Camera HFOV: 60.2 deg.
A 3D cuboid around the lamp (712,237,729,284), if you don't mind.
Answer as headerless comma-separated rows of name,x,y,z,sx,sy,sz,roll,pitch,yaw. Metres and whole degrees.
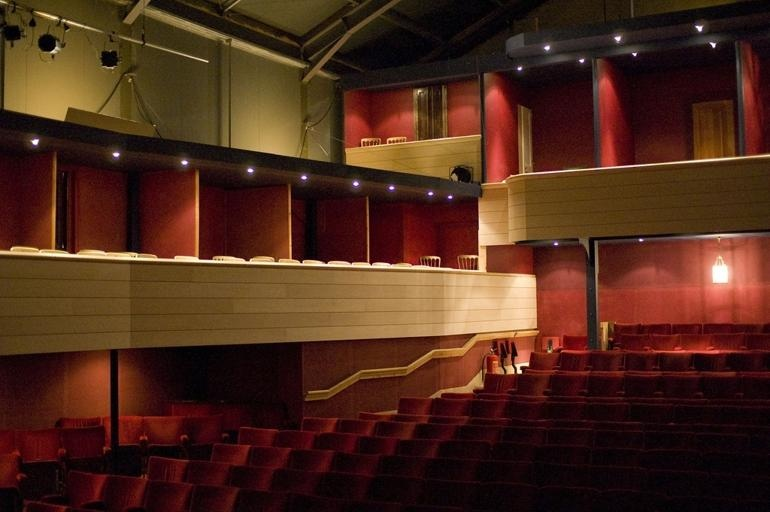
lamp,9.692,0.133,19.236,0.478,1.448,0.421,-3,-1,24
